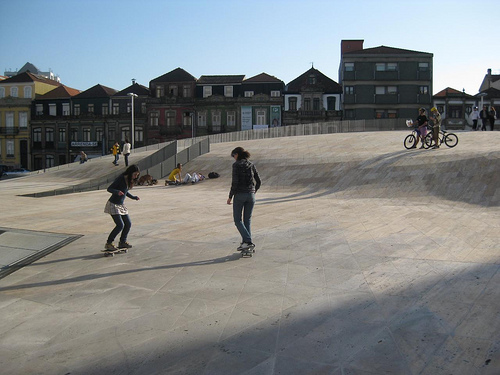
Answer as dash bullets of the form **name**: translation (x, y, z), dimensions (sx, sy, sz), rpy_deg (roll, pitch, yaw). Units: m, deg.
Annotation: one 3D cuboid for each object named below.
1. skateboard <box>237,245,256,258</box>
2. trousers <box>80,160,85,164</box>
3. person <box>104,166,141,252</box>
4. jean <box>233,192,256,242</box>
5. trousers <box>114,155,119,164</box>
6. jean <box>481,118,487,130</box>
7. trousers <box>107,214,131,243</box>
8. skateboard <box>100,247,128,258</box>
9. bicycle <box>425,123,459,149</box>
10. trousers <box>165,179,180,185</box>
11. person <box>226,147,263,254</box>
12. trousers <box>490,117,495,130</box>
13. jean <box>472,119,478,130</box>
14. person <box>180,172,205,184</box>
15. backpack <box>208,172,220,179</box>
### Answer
- **skateboard**: translation (-0.005, 1.297, 8.499), dimensions (0.433, 0.221, 0.301), rpy_deg (-6, 8, -32)
- **trousers**: translation (-16.837, -2.614, 40.746), dimensions (0.528, 0.277, 0.546), rpy_deg (-2, 7, -1)
- **person**: translation (-2.808, 0.440, 8.907), dimensions (0.767, 1.814, 0.524), rpy_deg (-4, 6, -17)
- **jean**: translation (-0.131, 0.596, 8.582), dimensions (0.455, 1.023, 0.492), rpy_deg (1, 7, 23)
- **trousers**: translation (-11.864, -2.505, 35.971), dimensions (0.281, 0.724, 0.555), rpy_deg (-5, 7, -30)
- **jean**: translation (19.306, -5.214, 33.294), dimensions (0.305, 0.873, 2.673), rpy_deg (2, 8, 30)
- **trousers**: translation (-2.869, 0.894, 8.876), dimensions (0.225, 0.643, 0.583), rpy_deg (3, 8, 37)
- **skateboard**: translation (-2.933, 1.375, 8.799), dimensions (0.188, 0.111, 0.616), rpy_deg (44, 22, 24)
- **bicycle**: translation (12.125, -3.170, 25.542), dimensions (0.926, 1.422, 1.943), rpy_deg (-2, 0, -31)
- **trousers**: translation (-5.202, -0.385, 27.192), dimensions (0.850, 0.418, 0.301), rpy_deg (-6, 7, 3)
- **person**: translation (-0.112, 0.282, 8.519), dimensions (0.621, 2.215, 0.578), rpy_deg (-2, 6, 0)
- **trousers**: translation (19.437, -5.263, 32.510), dimensions (0.250, 0.635, 3.900), rpy_deg (2, 8, 30)
- **jean**: translation (19.008, -5.331, 34.180), dimensions (0.265, 0.778, 2.291), rpy_deg (2, 8, 30)
- **person**: translation (-3.998, -0.644, 27.657), dimensions (1.551, 0.624, 0.612), rpy_deg (-4, 7, -19)
- **backpack**: translation (-2.511, -0.851, 28.089), dimensions (0.803, 0.418, 0.319), rpy_deg (-4, 15, 1)
